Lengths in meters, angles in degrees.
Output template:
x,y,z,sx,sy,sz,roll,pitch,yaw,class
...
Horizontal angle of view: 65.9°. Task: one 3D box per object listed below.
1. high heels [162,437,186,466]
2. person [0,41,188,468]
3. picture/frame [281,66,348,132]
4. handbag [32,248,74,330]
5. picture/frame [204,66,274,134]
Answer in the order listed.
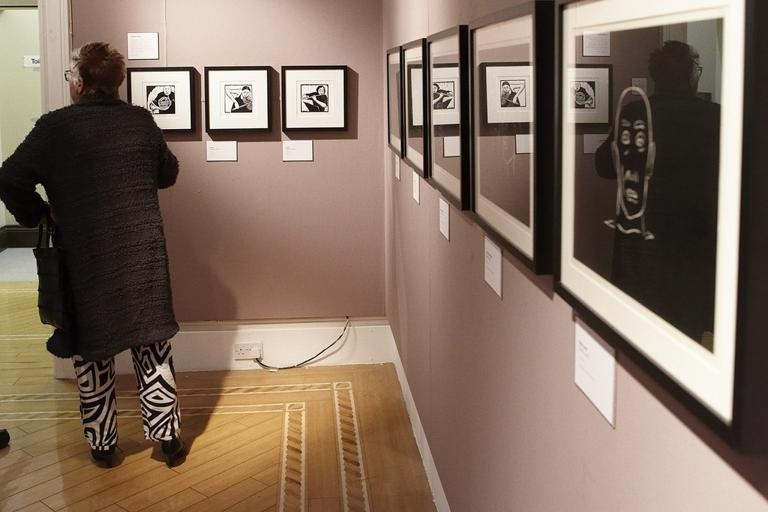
x,y,z,sx,sy,sz,roll,pitch,yaw,class
-1.116,1.022,3.100,0.071,0.095,0.210,-1,26,-10,high heels
-1.402,0.060,2.896,0.702,2.107,0.367,-3,13,-9,person
-0.491,-1.086,4.017,0.415,0.440,0.028,0,9,-2,picture/frame
-1.578,0.146,2.778,0.212,0.367,0.069,4,7,31,handbag
-0.996,-1.072,3.986,0.413,0.410,0.029,0,5,-5,picture/frame
